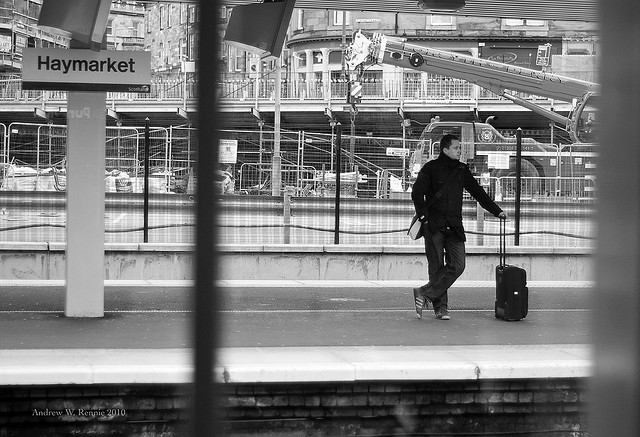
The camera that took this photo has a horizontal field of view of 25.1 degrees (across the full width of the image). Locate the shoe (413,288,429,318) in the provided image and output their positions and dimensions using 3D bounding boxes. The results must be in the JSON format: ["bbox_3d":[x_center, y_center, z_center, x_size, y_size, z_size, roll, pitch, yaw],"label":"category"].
[{"bbox_3d":[1.875,1.555,26.363,0.302,0.558,0.207,-1,10,6],"label":"shoe"}]

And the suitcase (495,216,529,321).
[{"bbox_3d":[3.553,1.361,26.425,0.608,1.030,0.466,-1,3,14],"label":"suitcase"}]

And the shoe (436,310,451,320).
[{"bbox_3d":[2.307,1.755,26.407,0.247,0.178,0.112,-1,3,0],"label":"shoe"}]
